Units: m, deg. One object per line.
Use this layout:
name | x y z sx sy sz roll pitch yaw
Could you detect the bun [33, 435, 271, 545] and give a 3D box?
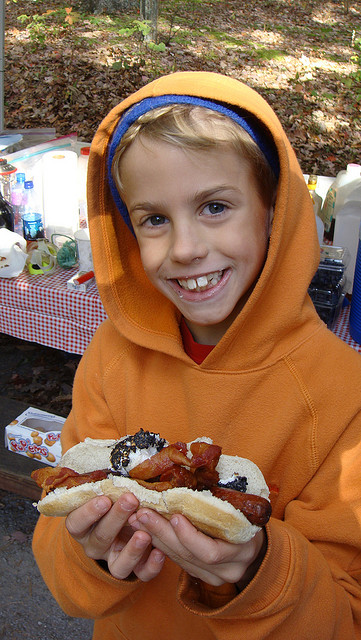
bun | -0.067 0.301 0.989 0.427 0.131 0.226 16 13 16
